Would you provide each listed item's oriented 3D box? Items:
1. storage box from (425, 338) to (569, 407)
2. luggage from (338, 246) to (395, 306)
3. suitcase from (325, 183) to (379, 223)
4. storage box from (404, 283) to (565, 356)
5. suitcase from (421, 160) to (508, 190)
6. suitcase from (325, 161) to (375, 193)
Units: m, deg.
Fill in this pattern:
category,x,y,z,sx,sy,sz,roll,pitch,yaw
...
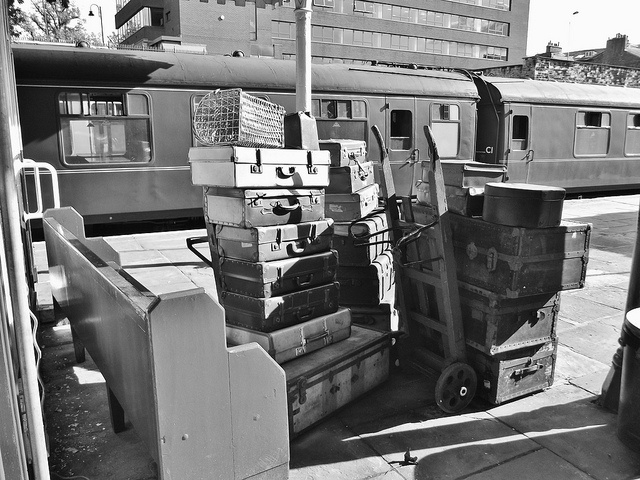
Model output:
category,x,y,z,sx,sy,sz,roll,pitch,yaw
storage box,1.689,1.290,5.178,0.905,0.370,0.662,-14,7,-17
luggage,0.499,0.418,6.276,0.485,0.353,0.682,0,4,15
suitcase,0.348,-0.452,6.877,0.450,0.237,0.628,3,12,23
storage box,1.777,0.715,5.233,0.695,0.497,0.724,-5,12,-27
suitcase,1.380,-0.624,5.332,0.463,0.187,0.473,9,13,42
suitcase,0.331,-0.758,6.815,0.395,0.207,0.576,0,9,17
